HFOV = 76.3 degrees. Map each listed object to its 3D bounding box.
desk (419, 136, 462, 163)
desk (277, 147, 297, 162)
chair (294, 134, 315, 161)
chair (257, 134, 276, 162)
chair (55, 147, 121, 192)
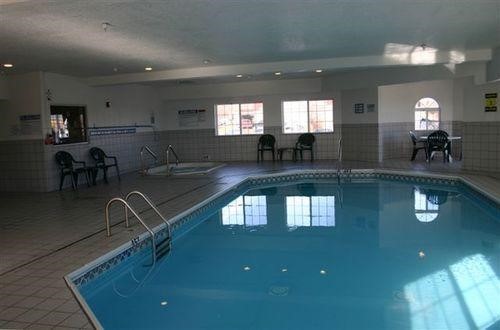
[{"bbox_3d":[6.700,-0.732,11.046,1.267,0.818,1.272,-1,3,14],"label":"desk"},{"bbox_3d":[1.478,-0.407,12.442,0.588,0.386,0.586,-1,-4,5],"label":"desk"},{"bbox_3d":[2.069,-0.662,11.896,0.896,0.973,0.878,-5,6,-18],"label":"chair"},{"bbox_3d":[0.639,-0.649,12.161,0.673,1.001,0.728,-2,4,6],"label":"chair"},{"bbox_3d":[-4.583,0.049,8.942,0.788,1.057,1.543,5,15,28],"label":"chair"}]
